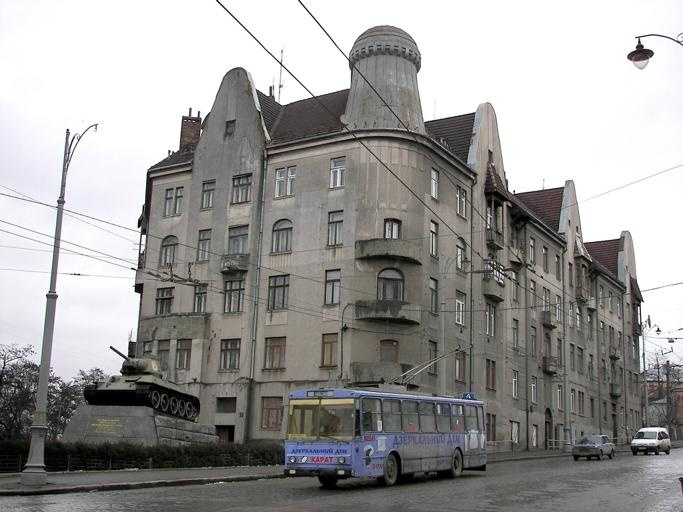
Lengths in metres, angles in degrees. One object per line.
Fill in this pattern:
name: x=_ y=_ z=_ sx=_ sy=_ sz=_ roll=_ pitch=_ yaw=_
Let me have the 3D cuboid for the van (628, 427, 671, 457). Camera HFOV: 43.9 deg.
van: x=21.472 y=12.678 z=57.948 sx=1.609 sy=1.407 sz=2.884 roll=-10 pitch=-25 yaw=27

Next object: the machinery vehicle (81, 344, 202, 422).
machinery vehicle: x=-10.126 y=6.673 z=42.601 sx=3.598 sy=3.697 sz=5.300 roll=-4 pitch=1 yaw=17
